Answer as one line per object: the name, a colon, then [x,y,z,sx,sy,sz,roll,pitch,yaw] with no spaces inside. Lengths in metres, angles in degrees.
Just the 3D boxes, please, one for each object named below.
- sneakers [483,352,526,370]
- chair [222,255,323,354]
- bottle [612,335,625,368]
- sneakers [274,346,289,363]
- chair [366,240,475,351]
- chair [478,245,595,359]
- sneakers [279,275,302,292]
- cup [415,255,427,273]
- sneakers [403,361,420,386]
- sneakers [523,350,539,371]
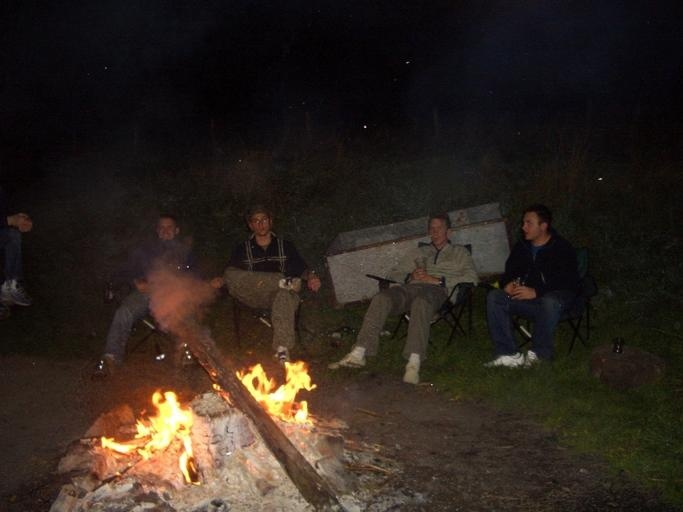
sneakers: [1.986,1.276,7.260,0.506,0.218,0.193,0,-5,7]
chair: [-0.888,0.632,7.836,0.879,0.527,1.712,-9,35,-30]
bottle: [3.333,1.105,7.103,0.131,0.293,0.068,6,4,17]
sneakers: [-0.756,1.266,7.565,0.230,0.247,0.191,-7,-12,35]
chair: [1.051,0.489,7.927,1.270,1.412,2.097,2,4,29]
chair: [2.437,0.386,7.542,1.155,2.125,1.006,4,-2,-43]
sneakers: [-0.664,0.361,7.864,0.258,0.167,0.114,5,11,-10]
cup: [1.097,0.116,8.139,0.100,0.055,0.378,22,38,-13]
sneakers: [0.874,1.414,7.195,0.255,0.253,0.190,-4,6,-17]
sneakers: [2.311,1.241,7.172,0.178,0.175,0.261,0,6,17]
